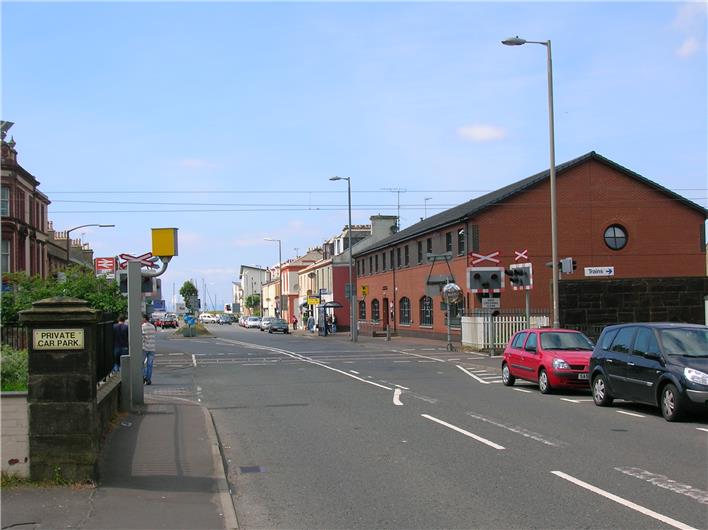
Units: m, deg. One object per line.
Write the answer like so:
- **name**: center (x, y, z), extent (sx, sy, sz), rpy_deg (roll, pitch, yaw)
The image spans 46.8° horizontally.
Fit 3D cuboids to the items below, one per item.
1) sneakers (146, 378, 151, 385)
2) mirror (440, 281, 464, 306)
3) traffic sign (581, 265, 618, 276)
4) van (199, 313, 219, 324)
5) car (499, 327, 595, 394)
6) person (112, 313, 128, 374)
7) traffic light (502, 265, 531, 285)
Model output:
- **sneakers**: center (-5.727, 3.246, 22.822), extent (0.101, 0.196, 0.105), rpy_deg (0, -13, 4)
- **mirror**: center (4.825, 1.314, 39.276), extent (1.012, 1.249, 1.220), rpy_deg (5, -12, 1)
- **traffic sign**: center (12.961, 0.284, 43.381), extent (1.445, 0.525, 2.293), rpy_deg (0, 0, 15)
- **van**: center (-23.733, 8.655, 134.051), extent (2.295, 1.191, 1.401), rpy_deg (-2, 1, 2)
- **car**: center (5.170, 2.435, 21.400), extent (1.373, 1.090, 2.300), rpy_deg (1, -7, -16)
- **person**: center (-6.175, 2.017, 21.701), extent (0.302, 1.424, 1.656), rpy_deg (-1, 0, -15)
- **traffic light**: center (6.288, 0.399, 31.588), extent (0.648, 1.204, 1.199), rpy_deg (3, -6, -30)
